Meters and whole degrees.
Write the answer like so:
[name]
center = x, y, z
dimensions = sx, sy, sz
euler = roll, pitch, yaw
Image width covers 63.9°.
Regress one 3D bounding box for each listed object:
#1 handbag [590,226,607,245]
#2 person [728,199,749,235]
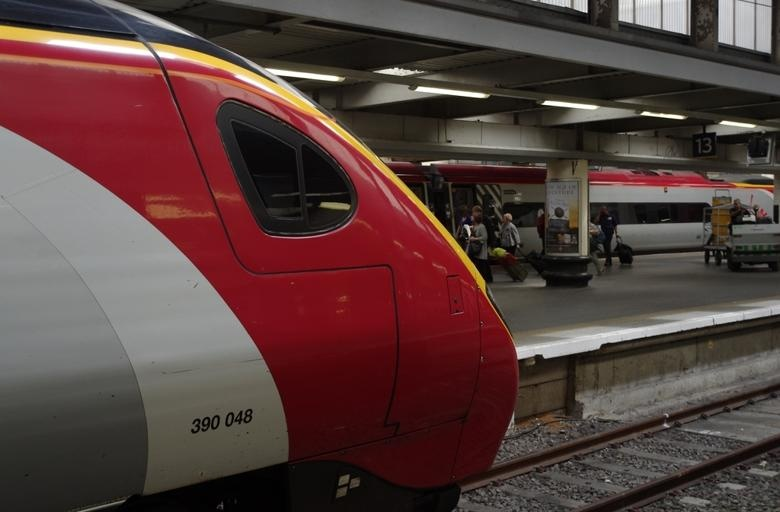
[handbag]
center = 6.465, -0.686, 19.549
dimensions = 0.315, 0.586, 0.799
euler = 3, 5, 41
[person]
center = 11.235, -1.317, 20.170
dimensions = 0.582, 1.051, 1.046
euler = 2, 4, 27
